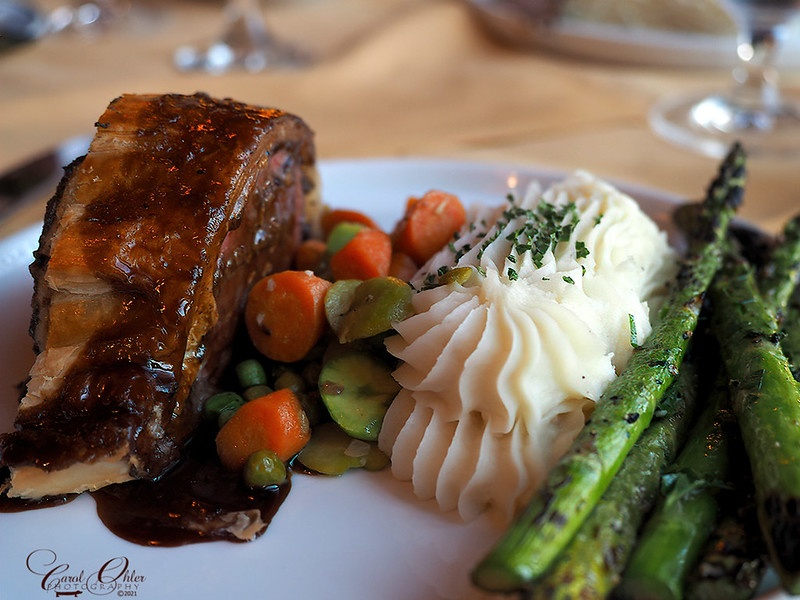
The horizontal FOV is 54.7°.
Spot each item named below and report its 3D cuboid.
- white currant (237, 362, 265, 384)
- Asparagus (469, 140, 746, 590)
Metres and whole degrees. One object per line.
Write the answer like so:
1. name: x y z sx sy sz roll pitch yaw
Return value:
1. white currant: -0.720 0.356 3.795 0.114 0.122 0.110 -20 85 -2
2. Asparagus: 0.918 0.327 3.410 2.617 0.284 0.356 -51 22 -26
